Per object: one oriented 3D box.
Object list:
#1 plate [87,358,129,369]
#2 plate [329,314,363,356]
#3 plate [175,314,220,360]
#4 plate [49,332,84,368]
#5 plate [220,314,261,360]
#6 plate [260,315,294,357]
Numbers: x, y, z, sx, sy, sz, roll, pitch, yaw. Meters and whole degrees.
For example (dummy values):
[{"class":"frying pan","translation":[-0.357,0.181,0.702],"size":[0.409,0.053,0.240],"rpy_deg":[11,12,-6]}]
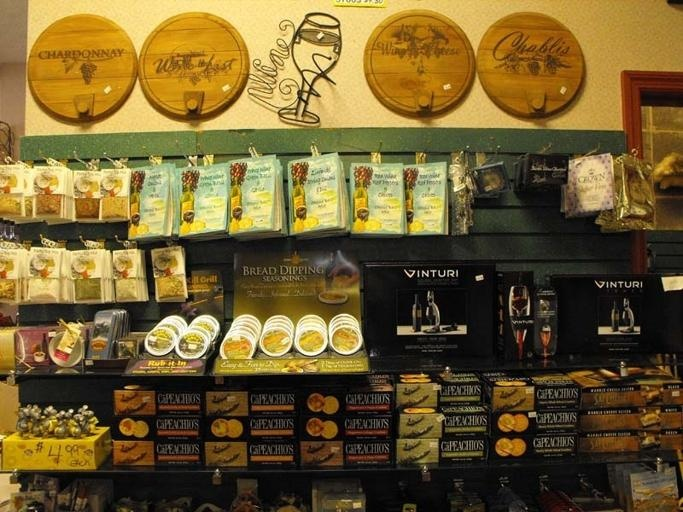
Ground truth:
[{"class":"plate","translation":[-1.429,0.654,4.656],"size":[0.266,0.059,0.017],"rpy_deg":[-2,-3,4]},{"class":"plate","translation":[0.032,0.479,4.695],"size":[0.193,0.208,0.201],"rpy_deg":[-1,9,0]},{"class":"plate","translation":[-0.887,0.496,4.738],"size":[0.252,0.258,0.348],"rpy_deg":[-1,-3,-6]},{"class":"plate","translation":[-1.680,0.561,4.740],"size":[0.214,0.226,0.096],"rpy_deg":[-18,-6,10]},{"class":"plate","translation":[-0.602,0.493,4.680],"size":[0.194,0.239,0.089],"rpy_deg":[8,4,4]},{"class":"plate","translation":[-0.373,0.493,4.705],"size":[0.204,0.192,0.221],"rpy_deg":[-1,13,0]}]
